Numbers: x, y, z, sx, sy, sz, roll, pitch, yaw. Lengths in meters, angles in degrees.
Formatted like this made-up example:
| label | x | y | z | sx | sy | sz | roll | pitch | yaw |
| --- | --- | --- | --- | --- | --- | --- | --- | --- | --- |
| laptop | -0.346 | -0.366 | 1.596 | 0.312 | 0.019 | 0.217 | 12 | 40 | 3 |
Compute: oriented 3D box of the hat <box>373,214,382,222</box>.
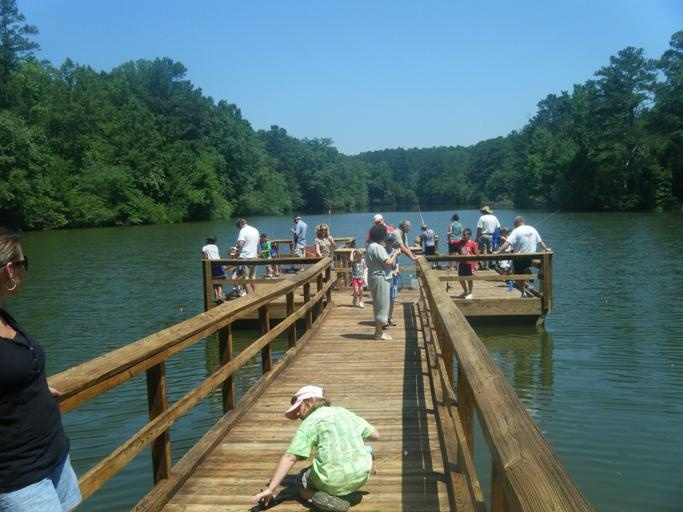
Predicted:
| label | x | y | z | sx | sy | sz | roll | pitch | yaw |
| --- | --- | --- | --- | --- | --- | --- | --- | --- | --- |
| hat | 0.538 | -0.553 | 9.555 | 0.159 | 0.090 | 0.216 | -3 | 3 | 19 |

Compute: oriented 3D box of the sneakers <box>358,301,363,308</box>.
| label | x | y | z | sx | sy | sz | roll | pitch | yaw |
| --- | --- | --- | --- | --- | --- | --- | --- | --- | --- |
| sneakers | 0.361 | 0.906 | 12.084 | 0.093 | 0.107 | 0.276 | -4 | -6 | 2 |

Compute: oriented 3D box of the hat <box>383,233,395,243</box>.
| label | x | y | z | sx | sy | sz | roll | pitch | yaw |
| --- | --- | --- | --- | --- | --- | --- | --- | --- | --- |
| hat | 0.760 | -0.280 | 10.147 | 0.192 | 0.134 | 0.247 | 5 | -21 | 1 |

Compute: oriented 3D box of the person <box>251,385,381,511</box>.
| label | x | y | z | sx | sy | sz | roll | pitch | yaw |
| --- | --- | --- | --- | --- | --- | --- | --- | --- | --- |
| person | -0.153 | 1.360 | 4.875 | 1.139 | 0.809 | 0.777 | -6 | 10 | -19 |
